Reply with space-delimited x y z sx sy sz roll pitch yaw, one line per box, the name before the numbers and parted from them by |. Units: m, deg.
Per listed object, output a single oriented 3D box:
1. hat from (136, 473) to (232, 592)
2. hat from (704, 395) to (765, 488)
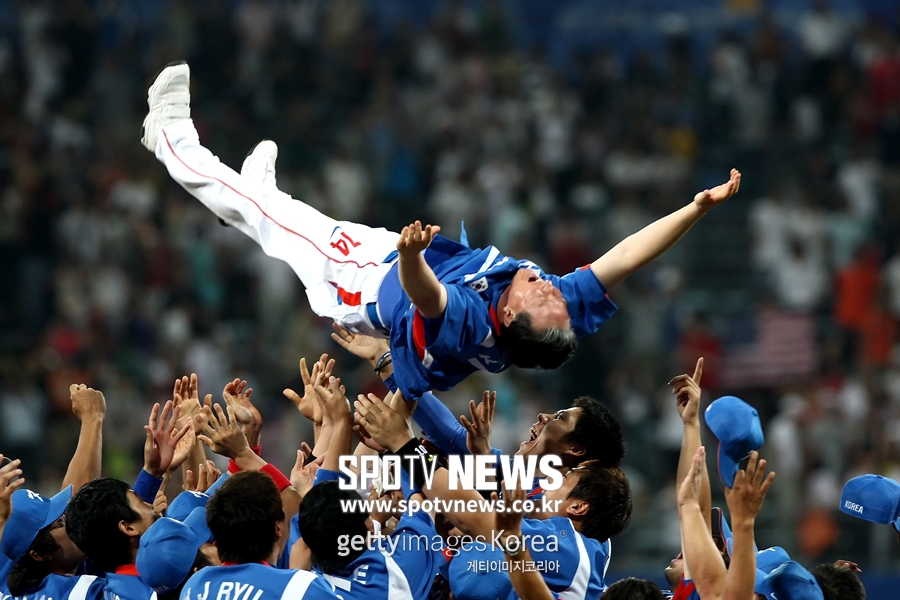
hat | -2.650 2.270 17.716 0.624 1.147 0.369 27 -34 -3
hat | 2.888 1.364 18.131 0.474 0.939 0.540 8 8 34
